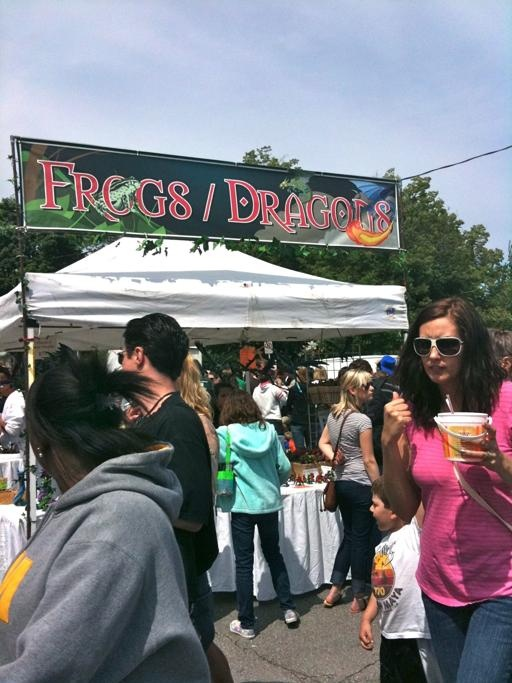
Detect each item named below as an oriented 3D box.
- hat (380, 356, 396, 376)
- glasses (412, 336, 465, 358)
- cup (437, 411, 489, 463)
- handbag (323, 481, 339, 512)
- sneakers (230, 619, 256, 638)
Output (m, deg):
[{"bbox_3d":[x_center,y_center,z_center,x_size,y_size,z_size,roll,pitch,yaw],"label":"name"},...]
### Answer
[{"bbox_3d":[1.100,0.211,6.583,0.164,0.101,0.212,16,19,10],"label":"hat"},{"bbox_3d":[0.600,0.016,2.598,0.095,0.035,0.094,8,-7,-43],"label":"glasses"},{"bbox_3d":[0.596,0.295,2.354,0.188,0.129,0.157,1,-11,3],"label":"cup"},{"bbox_3d":[0.481,1.006,5.053,0.105,0.218,0.241,4,-17,12],"label":"handbag"},{"bbox_3d":[-0.082,1.713,4.634,0.143,0.049,0.076,20,21,37],"label":"sneakers"}]
